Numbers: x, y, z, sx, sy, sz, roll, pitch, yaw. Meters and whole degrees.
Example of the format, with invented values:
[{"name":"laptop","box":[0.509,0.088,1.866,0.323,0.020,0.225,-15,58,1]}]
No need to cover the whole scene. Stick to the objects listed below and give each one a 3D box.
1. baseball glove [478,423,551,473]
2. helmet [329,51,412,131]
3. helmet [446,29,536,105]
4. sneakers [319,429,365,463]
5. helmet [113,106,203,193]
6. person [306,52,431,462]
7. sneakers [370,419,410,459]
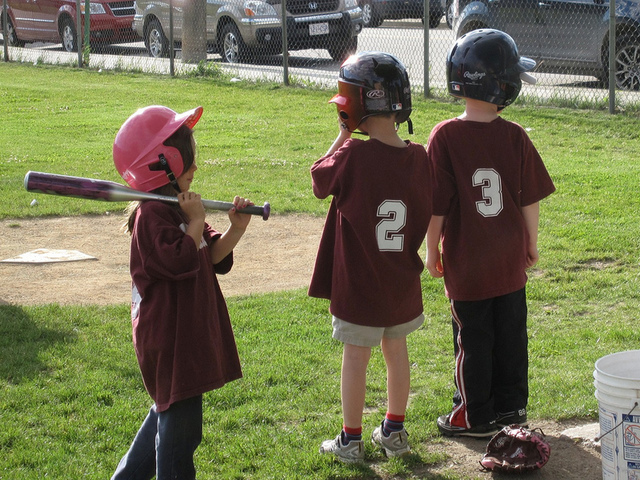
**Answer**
[{"name":"baseball glove","box":[1.202,1.251,5.483,0.326,0.143,0.257,-23,27,-29]},{"name":"helmet","box":[0.302,-0.914,5.565,0.528,0.489,0.418,4,16,31]},{"name":"helmet","box":[1.119,-1.102,5.824,0.573,0.499,0.429,-2,13,-7]},{"name":"sneakers","box":[0.142,1.269,5.677,0.153,0.181,0.375,-4,4,-32]},{"name":"helmet","box":[-0.913,-0.538,5.188,0.539,0.459,0.391,-11,6,-12]},{"name":"person","box":[0.312,0.110,5.514,0.750,2.440,0.386,0,9,6]},{"name":"sneakers","box":[0.443,1.227,5.786,0.184,0.213,0.406,-9,7,-21]}]
